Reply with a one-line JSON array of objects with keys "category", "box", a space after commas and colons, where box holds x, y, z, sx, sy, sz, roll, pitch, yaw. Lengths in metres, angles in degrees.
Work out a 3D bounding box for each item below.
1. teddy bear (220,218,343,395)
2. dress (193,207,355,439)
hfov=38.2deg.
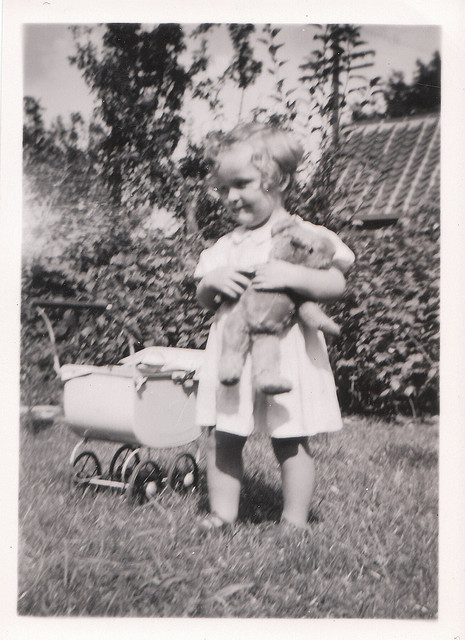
[{"category": "teddy bear", "box": [0.159, -0.043, 2.031, 0.392, 0.531, 0.183, -2, 7, -38]}, {"category": "dress", "box": [0.108, 0.058, 2.179, 0.376, 0.808, 0.503, -3, 6, -18]}]
